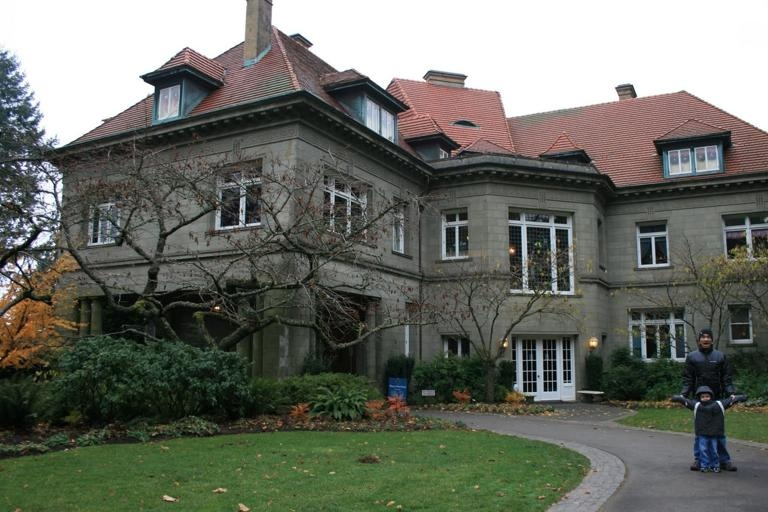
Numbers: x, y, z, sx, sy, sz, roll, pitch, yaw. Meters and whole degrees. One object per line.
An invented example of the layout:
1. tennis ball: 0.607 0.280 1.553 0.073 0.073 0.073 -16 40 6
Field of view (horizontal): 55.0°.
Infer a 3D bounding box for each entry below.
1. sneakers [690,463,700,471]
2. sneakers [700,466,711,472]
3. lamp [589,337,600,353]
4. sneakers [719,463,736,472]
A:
1. sneakers: 7.205 4.851 17.063 0.096 0.100 0.265 -2 -8 14
2. sneakers: 7.354 4.829 16.826 0.250 0.092 0.083 19 -25 -38
3. lamp: 9.354 3.856 32.646 0.588 0.656 0.260 1 1 -36
4. sneakers: 7.955 4.790 16.869 0.448 0.150 0.149 -3 -5 33
